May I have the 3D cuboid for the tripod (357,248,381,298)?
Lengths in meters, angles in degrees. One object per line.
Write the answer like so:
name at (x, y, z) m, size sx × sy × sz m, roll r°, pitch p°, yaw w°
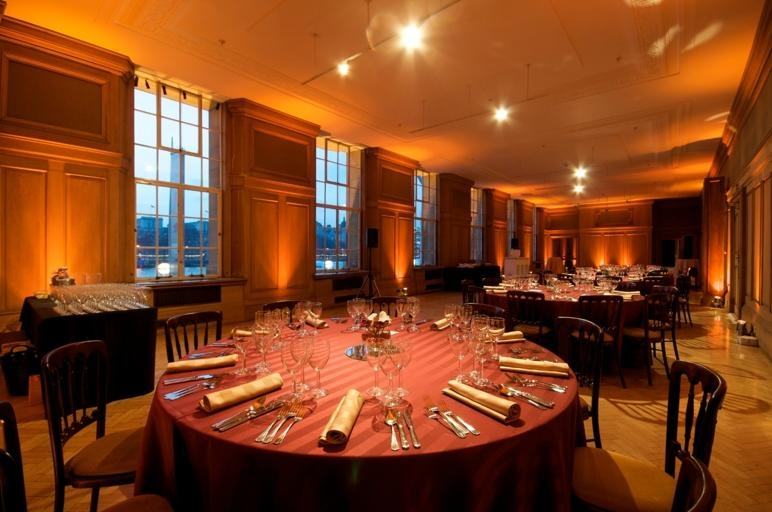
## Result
tripod at (-0.366, 0.393, 11.847) m, size 0.492 × 1.118 × 1.334 m, roll -2°, pitch -2°, yaw 1°

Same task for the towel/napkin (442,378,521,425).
towel/napkin at (0.846, 1.278, 4.485) m, size 0.523 × 0.169 × 0.298 m, roll 10°, pitch 7°, yaw 43°

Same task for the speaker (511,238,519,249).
speaker at (4.450, -0.373, 17.529) m, size 0.318 × 0.344 × 0.616 m, roll 4°, pitch 10°, yaw 15°

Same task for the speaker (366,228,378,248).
speaker at (-0.288, -0.374, 11.305) m, size 0.244 × 0.385 × 0.136 m, roll -1°, pitch -2°, yaw -21°

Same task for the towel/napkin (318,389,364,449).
towel/napkin at (-0.354, 1.385, 4.413) m, size 0.223 × 0.158 × 0.514 m, roll 11°, pitch 25°, yaw 12°

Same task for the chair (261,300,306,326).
chair at (-1.102, 0.639, 5.577) m, size 0.289 × 0.382 × 0.248 m, roll -2°, pitch -6°, yaw 17°

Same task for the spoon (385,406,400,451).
spoon at (0.062, 1.462, 4.307) m, size 0.072 × 0.064 × 0.362 m, roll 5°, pitch 29°, yaw -9°
